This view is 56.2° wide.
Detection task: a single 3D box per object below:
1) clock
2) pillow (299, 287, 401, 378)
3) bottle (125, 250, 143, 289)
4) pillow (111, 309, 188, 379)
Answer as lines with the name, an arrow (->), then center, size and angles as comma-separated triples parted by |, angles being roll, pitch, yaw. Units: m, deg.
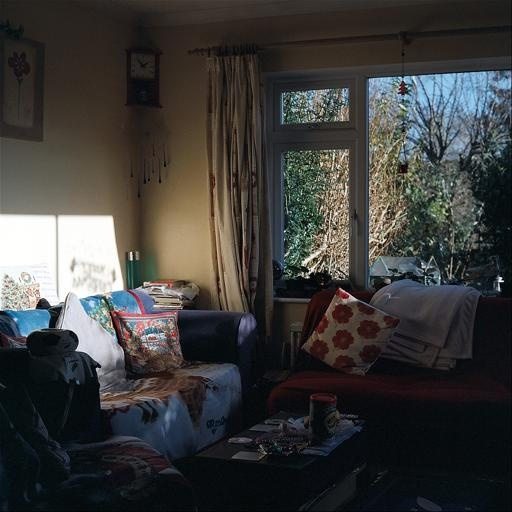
clock -> -0.878, -1.385, 3.709 | 0.261, 0.430, 0.066 | -3, 7, -12
pillow -> 0.499, 0.416, 2.531 | 0.384, 0.384, 0.117 | 28, -4, 46
bottle -> -0.969, 0.101, 3.782 | 0.119, 0.291, 0.243 | -3, 8, -13
pillow -> -0.570, 0.465, 2.578 | 0.320, 0.346, 0.098 | 4, -23, -37
